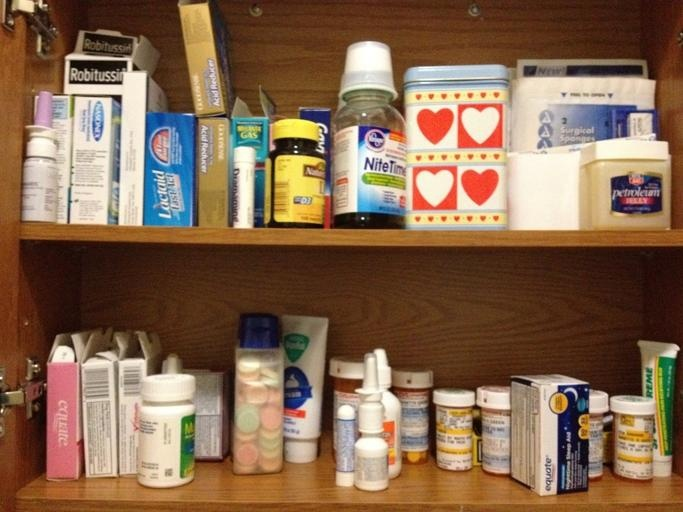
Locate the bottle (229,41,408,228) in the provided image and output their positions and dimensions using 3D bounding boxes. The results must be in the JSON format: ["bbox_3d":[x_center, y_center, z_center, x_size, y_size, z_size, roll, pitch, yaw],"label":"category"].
[{"bbox_3d":[0.000,-0.215,1.281,0.187,0.283,0.199,-2,0,0],"label":"bottle"}]
